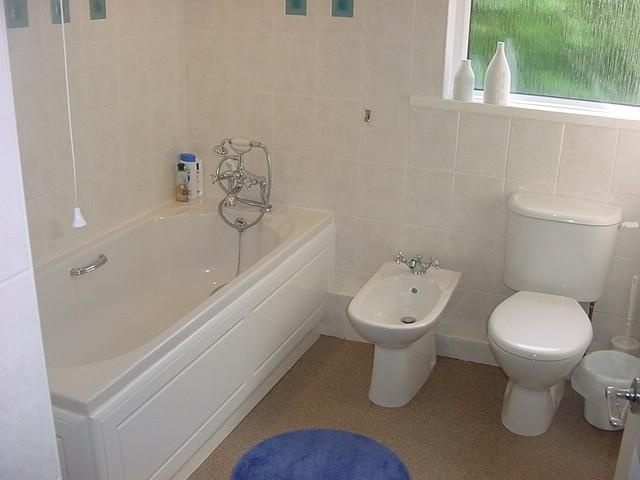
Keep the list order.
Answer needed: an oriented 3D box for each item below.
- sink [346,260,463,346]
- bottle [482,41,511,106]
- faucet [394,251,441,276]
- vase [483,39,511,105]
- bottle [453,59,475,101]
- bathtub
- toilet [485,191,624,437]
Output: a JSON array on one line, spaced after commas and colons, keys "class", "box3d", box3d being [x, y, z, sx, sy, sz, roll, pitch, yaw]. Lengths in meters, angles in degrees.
[{"class": "sink", "box3d": [0.449, 0.398, 2.710, 0.463, 0.251, 0.726, 4, 19, 25]}, {"class": "bottle", "box3d": [0.938, -0.874, 2.668, 0.133, 0.295, 0.148, 9, 28, 17]}, {"class": "faucet", "box3d": [0.564, 0.127, 2.947, 0.240, 0.127, 0.112, 6, 25, 15]}, {"class": "vase", "box3d": [0.938, -0.874, 2.668, 0.133, 0.295, 0.148, 9, 28, 17]}, {"class": "bottle", "box3d": [0.794, -0.868, 2.747, 0.148, 0.198, 0.120, -5, 27, -11]}, {"class": "bathtub", "box3d": [-0.734, 0.262, 2.552, 0.732, 0.506, 1.389, 9, 21, 23]}, {"class": "toilet", "box3d": [1.115, 0.404, 2.579, 0.550, 1.053, 0.806, 12, 30, 28]}]
